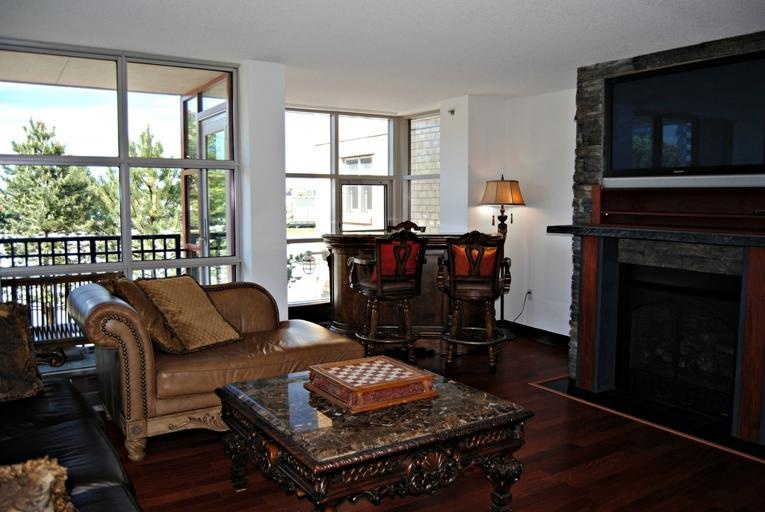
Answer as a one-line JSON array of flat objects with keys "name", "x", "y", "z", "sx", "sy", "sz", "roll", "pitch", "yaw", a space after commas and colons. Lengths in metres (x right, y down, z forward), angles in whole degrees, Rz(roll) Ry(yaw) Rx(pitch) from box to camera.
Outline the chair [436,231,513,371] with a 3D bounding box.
[{"name": "chair", "x": 0.989, "y": 0.431, "z": 5.737, "sx": 0.755, "sy": 1.282, "sz": 0.710, "roll": 1, "pitch": 4, "yaw": 11}]

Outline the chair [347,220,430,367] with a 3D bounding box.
[{"name": "chair", "x": 0.103, "y": 0.393, "z": 5.806, "sx": 0.889, "sy": 1.338, "sz": 0.793, "roll": 1, "pitch": 0, "yaw": -14}]

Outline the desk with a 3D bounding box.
[{"name": "desk", "x": 0.176, "y": 0.371, "z": 6.379, "sx": 2.322, "sy": 1.345, "sz": 1.208, "roll": -1, "pitch": 5, "yaw": -10}]

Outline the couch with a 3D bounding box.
[{"name": "couch", "x": -1.463, "y": 0.849, "z": 4.704, "sx": 2.324, "sy": 1.132, "sz": 1.325, "roll": 1, "pitch": 6, "yaw": -33}]

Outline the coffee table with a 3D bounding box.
[{"name": "coffee table", "x": 0.033, "y": 0.992, "z": 3.014, "sx": 1.219, "sy": 0.495, "sz": 1.181, "roll": 0, "pitch": 3, "yaw": -33}]

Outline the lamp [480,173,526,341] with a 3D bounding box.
[{"name": "lamp", "x": 1.586, "y": -0.233, "z": 7.149, "sx": 0.504, "sy": 1.595, "sz": 0.489, "roll": 1, "pitch": 22, "yaw": 31}]
